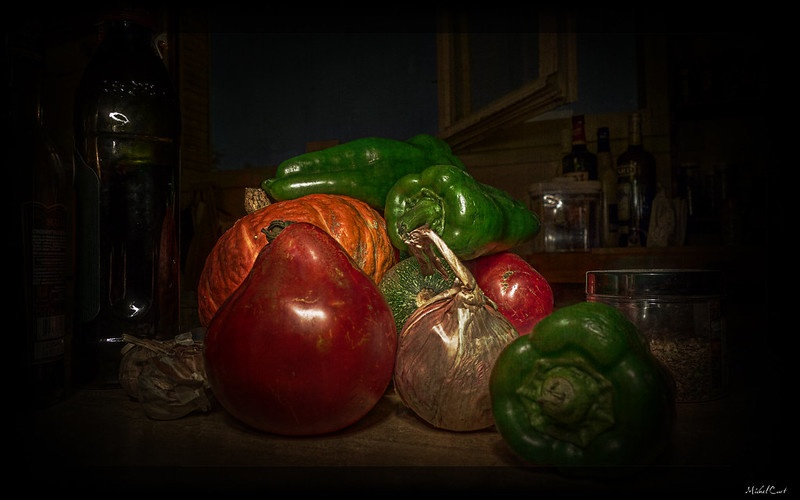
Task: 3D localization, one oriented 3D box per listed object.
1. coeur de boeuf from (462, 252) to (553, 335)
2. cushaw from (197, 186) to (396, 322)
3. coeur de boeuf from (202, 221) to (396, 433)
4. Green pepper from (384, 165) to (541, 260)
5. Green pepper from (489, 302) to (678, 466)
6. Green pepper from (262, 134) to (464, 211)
[{"bbox_3d":[0.205,0.069,1.054,0.171,0.185,0.096,-6,-31,8],"label":"coeur de boeuf"},{"bbox_3d":[-0.214,-0.013,1.105,0.293,0.243,0.314,5,6,44],"label":"cushaw"},{"bbox_3d":[-0.143,0.081,0.869,0.232,0.275,0.233,-1,7,-36],"label":"coeur de boeuf"},{"bbox_3d":[0.120,-0.063,1.106,0.219,0.198,0.219,2,1,29],"label":"Green pepper"},{"bbox_3d":[0.209,0.179,0.832,0.203,0.206,0.239,-35,-5,34],"label":"Green pepper"},{"bbox_3d":[-0.071,-0.157,1.244,0.421,0.170,0.181,-10,30,-20],"label":"Green pepper"}]
